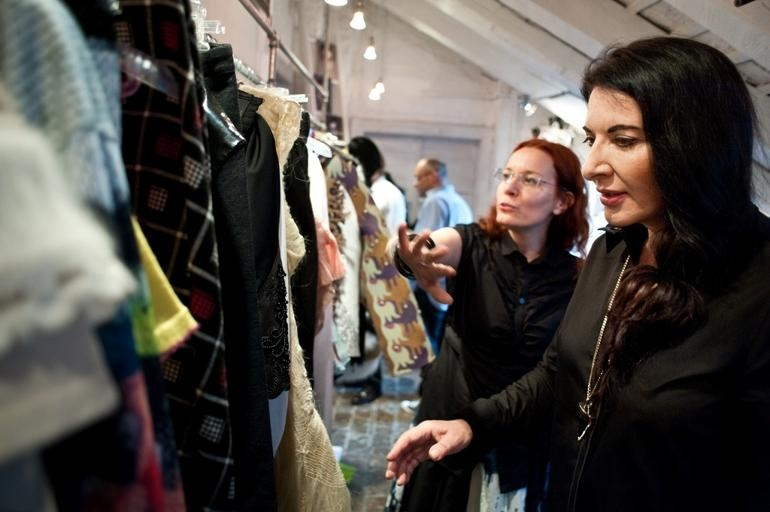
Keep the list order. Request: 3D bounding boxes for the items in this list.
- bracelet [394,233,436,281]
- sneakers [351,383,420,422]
[{"bbox_3d":[0.077,0.012,1.754,0.111,0.131,0.045,-12,-6,-3],"label":"bracelet"},{"bbox_3d":[0.028,0.852,3.714,0.457,0.210,0.156,3,18,9],"label":"sneakers"}]
